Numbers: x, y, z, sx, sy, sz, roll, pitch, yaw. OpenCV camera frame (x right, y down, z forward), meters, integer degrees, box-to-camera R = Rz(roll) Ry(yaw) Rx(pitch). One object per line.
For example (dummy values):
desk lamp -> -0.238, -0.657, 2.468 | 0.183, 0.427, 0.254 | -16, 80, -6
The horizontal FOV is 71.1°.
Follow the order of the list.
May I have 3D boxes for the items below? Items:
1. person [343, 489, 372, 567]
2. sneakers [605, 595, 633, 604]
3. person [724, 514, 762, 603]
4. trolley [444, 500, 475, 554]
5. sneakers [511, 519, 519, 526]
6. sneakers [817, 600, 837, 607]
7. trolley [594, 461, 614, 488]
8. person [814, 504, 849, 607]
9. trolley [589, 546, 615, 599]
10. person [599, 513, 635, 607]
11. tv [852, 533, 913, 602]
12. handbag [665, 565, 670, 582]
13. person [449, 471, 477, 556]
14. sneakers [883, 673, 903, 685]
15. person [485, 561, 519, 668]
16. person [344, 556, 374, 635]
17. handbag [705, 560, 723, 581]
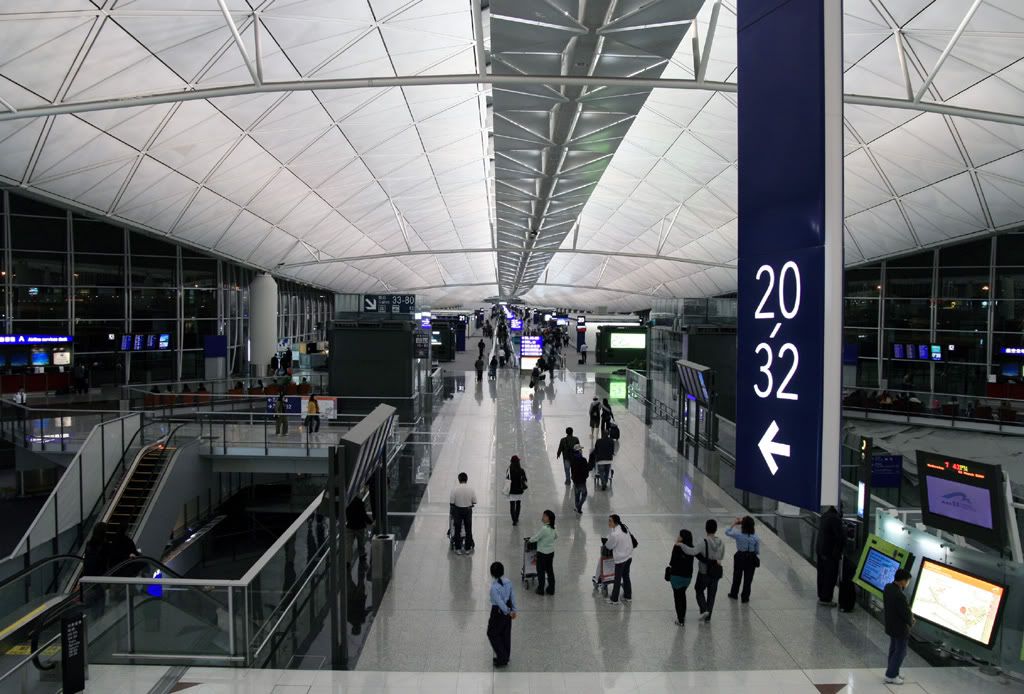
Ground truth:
person -> -3.738, 4.235, 17.503 | 0.573, 1.822, 1.533 | -1, 9, -11
sneakers -> 2.345, 5.486, 15.595 | 0.555, 0.227, 0.170 | 7, 2, 5
person -> 5.046, 4.533, 15.617 | 0.594, 2.019, 0.944 | 4, 10, 21
trolley -> -1.247, 4.537, 18.055 | 0.524, 1.121, 0.357 | 0, -14, -14
sneakers -> 0.090, 4.833, 19.796 | 0.222, 0.207, 0.119 | 0, -2, 1
sneakers -> 6.802, 5.513, 15.423 | 0.376, 0.163, 0.135 | -2, 4, -3
trolley -> 2.902, 4.053, 22.834 | 0.667, 0.685, 1.979 | -9, -3, 11
person -> 6.863, 4.406, 15.381 | 0.523, 2.201, 0.600 | 5, 10, 26
trolley -> 2.063, 4.969, 16.080 | 0.457, 0.749, 0.553 | 4, -8, -8
person -> 2.360, 4.543, 15.878 | 0.681, 1.866, 1.104 | 2, 9, 7
tv -> 7.512, 4.474, 14.640 | 0.282, 1.069, 1.167 | 24, 3, -27
handbag -> 3.171, 4.558, 14.466 | 0.106, 0.260, 0.190 | 3, 9, 11
person -> -1.223, 4.222, 18.017 | 0.574, 1.749, 0.583 | 1, 9, 2
sneakers -> 6.780, 5.888, 12.718 | 0.327, 0.135, 0.119 | -1, 7, 0
person -> -0.220, 4.911, 13.473 | 0.486, 1.905, 0.783 | 1, 9, -1
person -> -3.379, 5.580, 15.514 | 0.394, 2.064, 0.109 | 0, 28, -14
handbag -> 4.129, 4.564, 14.621 | 0.370, 0.482, 0.134 | -2, 10, -17
